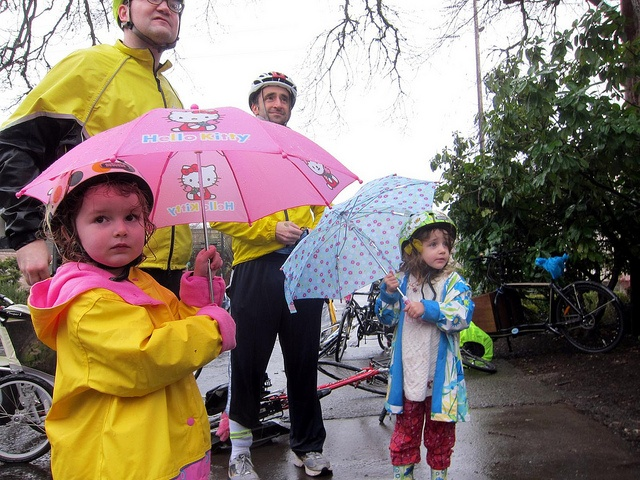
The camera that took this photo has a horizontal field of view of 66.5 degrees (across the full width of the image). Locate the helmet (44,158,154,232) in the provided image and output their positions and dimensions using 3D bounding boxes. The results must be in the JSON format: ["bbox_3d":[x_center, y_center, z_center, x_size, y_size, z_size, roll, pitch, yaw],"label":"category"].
[{"bbox_3d":[-1.059,-0.261,2.328,0.397,0.221,0.317,-31,-22,17],"label":"helmet"}]

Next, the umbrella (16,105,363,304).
[{"bbox_3d":[-0.563,-0.344,2.562,1.056,0.811,1.138,-11,-8,34],"label":"umbrella"}]

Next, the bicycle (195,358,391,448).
[{"bbox_3d":[-0.196,1.466,4.388,1.399,0.766,0.871,-6,-17,-11],"label":"bicycle"}]

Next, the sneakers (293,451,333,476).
[{"bbox_3d":[-0.046,1.625,3.588,0.133,0.146,0.295,6,-14,-37],"label":"sneakers"}]

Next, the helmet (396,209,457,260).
[{"bbox_3d":[0.738,-0.041,3.427,0.394,0.329,0.324,8,-52,-7],"label":"helmet"}]

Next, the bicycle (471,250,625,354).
[{"bbox_3d":[2.647,0.771,6.108,0.924,1.301,2.050,-10,-4,-36],"label":"bicycle"}]
